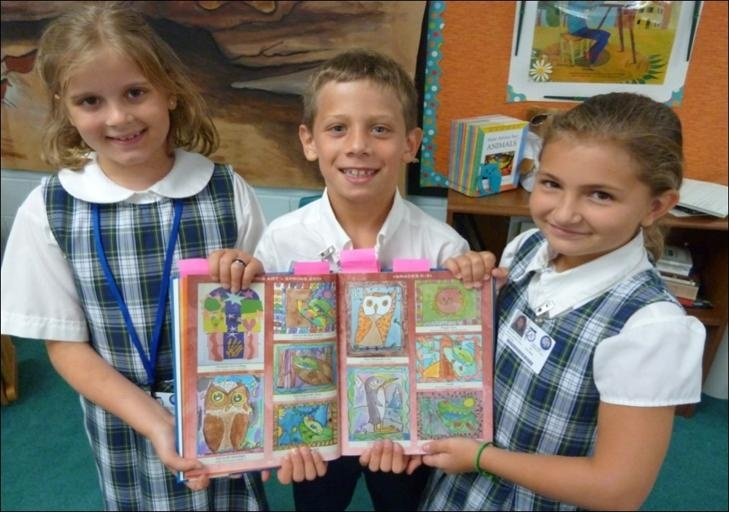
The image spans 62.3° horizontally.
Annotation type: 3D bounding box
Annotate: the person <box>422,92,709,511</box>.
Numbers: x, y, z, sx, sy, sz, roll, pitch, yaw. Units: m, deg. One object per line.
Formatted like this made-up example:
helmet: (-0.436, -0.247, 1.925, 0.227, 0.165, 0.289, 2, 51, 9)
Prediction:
person: (0.586, 0.199, 1.858, 0.781, 1.326, 0.541, -3, 18, 7)

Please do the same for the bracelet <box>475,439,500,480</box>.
bracelet: (0.377, 0.624, 1.847, 0.028, 0.104, 0.087, -7, 12, -14)
